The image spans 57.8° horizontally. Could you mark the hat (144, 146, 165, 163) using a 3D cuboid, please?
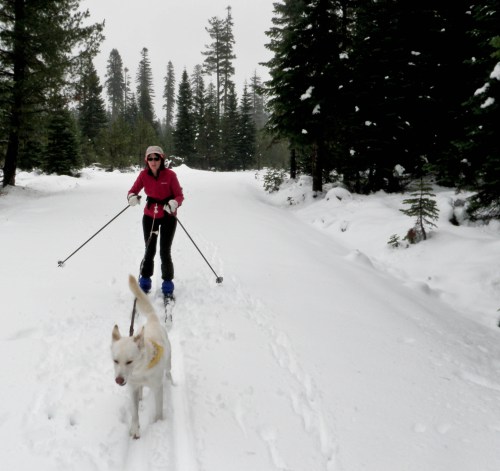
[{"bbox_3d":[-1.789,-1.521,8.451,0.331,0.266,0.393,-1,11,-9],"label":"hat"}]

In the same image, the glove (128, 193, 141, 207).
[{"bbox_3d":[-2.211,-0.673,8.643,0.217,0.217,0.300,-2,11,-17],"label":"glove"}]

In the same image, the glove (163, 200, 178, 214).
[{"bbox_3d":[-1.488,-0.520,8.479,0.263,0.267,0.248,-1,10,-12],"label":"glove"}]

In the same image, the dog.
[{"bbox_3d":[-1.645,1.857,6.823,0.701,2.261,1.090,3,10,15],"label":"dog"}]
